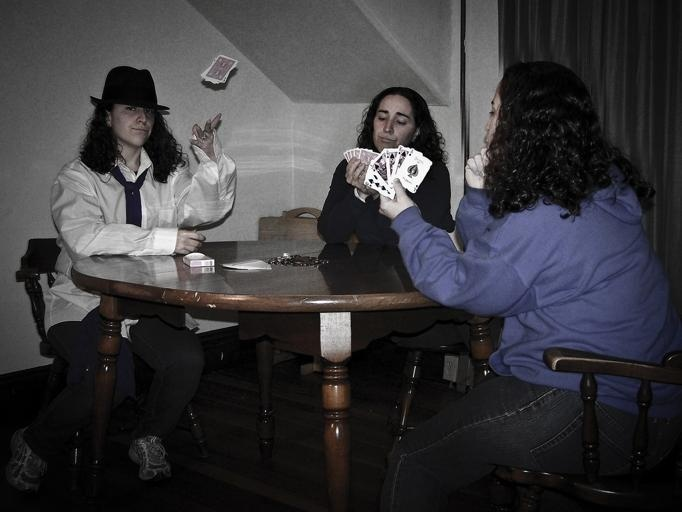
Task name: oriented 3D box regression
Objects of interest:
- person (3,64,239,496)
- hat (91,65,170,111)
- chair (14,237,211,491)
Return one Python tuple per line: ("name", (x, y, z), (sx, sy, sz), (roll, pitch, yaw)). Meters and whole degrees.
("person", (-1.010, -0.045, 2.540), (0.930, 2.068, 0.827), (-2, 4, -35))
("hat", (-1.044, -0.826, 2.703), (0.410, 0.216, 0.286), (3, 11, -17))
("chair", (-1.008, 0.414, 2.347), (0.559, 0.932, 0.569), (-1, 11, -29))
